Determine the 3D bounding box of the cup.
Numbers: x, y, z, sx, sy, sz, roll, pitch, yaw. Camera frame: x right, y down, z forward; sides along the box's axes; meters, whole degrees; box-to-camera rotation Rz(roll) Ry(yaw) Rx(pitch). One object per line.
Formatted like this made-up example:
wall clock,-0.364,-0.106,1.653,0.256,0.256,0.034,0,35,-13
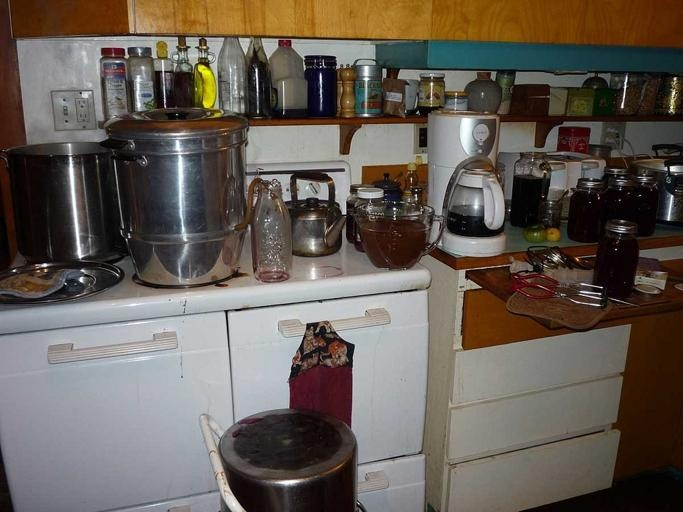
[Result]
cup,0.165,-0.075,1.795,0.262,0.177,0.219,0,11,-9

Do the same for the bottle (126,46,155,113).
bottle,-0.688,-0.609,1.945,0.097,0.207,0.122,-7,19,-15

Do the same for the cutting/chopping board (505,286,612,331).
cutting/chopping board,0.603,0.137,1.575,0.256,0.053,0.187,9,21,27

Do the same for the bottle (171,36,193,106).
bottle,-0.553,-0.641,1.965,0.076,0.226,0.241,-6,19,-13

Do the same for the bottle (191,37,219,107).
bottle,-0.471,-0.627,1.943,0.086,0.232,0.309,-5,19,-11

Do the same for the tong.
tong,0.628,0.097,1.635,0.315,0.093,0.076,5,6,2

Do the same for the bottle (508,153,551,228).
bottle,0.699,-0.247,2.117,0.128,0.268,0.102,6,20,21

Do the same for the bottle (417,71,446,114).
bottle,0.348,-0.637,2.209,0.103,0.152,0.155,1,19,8

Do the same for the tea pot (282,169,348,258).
tea pot,-0.091,-0.149,1.902,0.185,0.262,0.210,-3,19,-5

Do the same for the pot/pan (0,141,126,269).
pot/pan,-0.809,-0.206,1.883,0.343,0.438,0.433,8,16,28
